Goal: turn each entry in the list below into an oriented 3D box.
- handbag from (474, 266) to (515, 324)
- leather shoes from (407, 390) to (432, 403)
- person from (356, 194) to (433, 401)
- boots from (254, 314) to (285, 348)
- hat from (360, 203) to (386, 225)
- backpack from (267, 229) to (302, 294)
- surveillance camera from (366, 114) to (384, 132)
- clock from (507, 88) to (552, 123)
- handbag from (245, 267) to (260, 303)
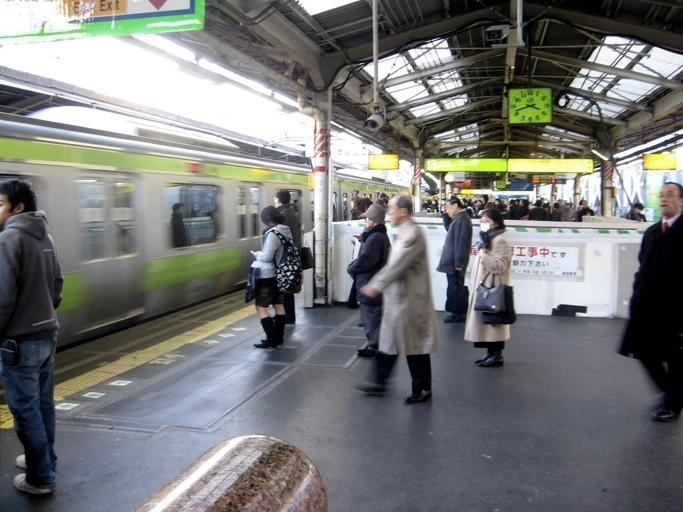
[{"bbox_3d":[1.895,0.559,5.707,0.479,0.642,0.270,2,8,14],"label":"handbag"},{"bbox_3d":[0.834,1.534,5.022,0.315,0.103,0.106,3,-6,-25],"label":"leather shoes"},{"bbox_3d":[0.619,0.486,4.742,0.751,2.232,0.739,1,8,5],"label":"person"},{"bbox_3d":[-0.974,1.116,6.947,0.510,0.457,0.544,4,4,13],"label":"boots"},{"bbox_3d":[0.450,-0.558,6.132,0.295,0.163,0.290,21,7,18],"label":"hat"},{"bbox_3d":[-0.799,0.080,6.677,0.433,0.982,0.391,-3,8,-18],"label":"backpack"},{"bbox_3d":[0.637,-3.058,10.354,0.537,0.338,0.419,9,26,19],"label":"surveillance camera"},{"bbox_3d":[5.386,-4.419,13.506,1.491,1.024,0.479,-7,12,-15],"label":"clock"},{"bbox_3d":[-1.316,0.420,6.804,0.183,0.571,0.602,-2,7,-11],"label":"handbag"}]
